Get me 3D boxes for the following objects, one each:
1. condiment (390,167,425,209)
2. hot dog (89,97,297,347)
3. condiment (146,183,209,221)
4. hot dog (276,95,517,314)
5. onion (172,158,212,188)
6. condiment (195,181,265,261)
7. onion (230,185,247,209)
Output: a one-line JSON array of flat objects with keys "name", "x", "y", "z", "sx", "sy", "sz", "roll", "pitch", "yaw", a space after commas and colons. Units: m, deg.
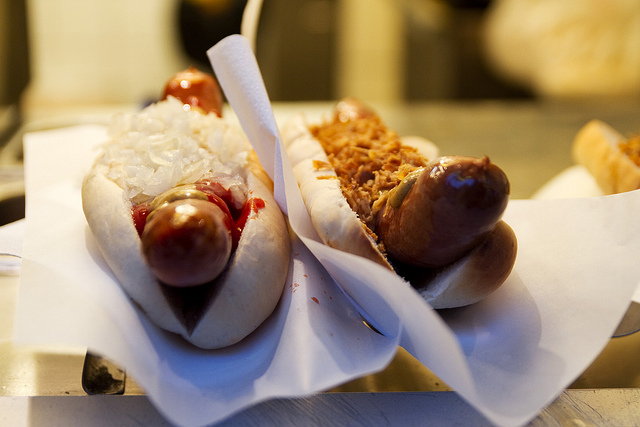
[{"name": "condiment", "x": 0.158, "y": -0.047, "z": 1.133, "sx": 0.026, "sy": 0.047, "sz": 0.089, "roll": 44, "pitch": 93, "yaw": 14}, {"name": "hot dog", "x": -0.282, "y": -0.065, "z": 1.224, "sx": 0.278, "sy": 0.191, "sz": 0.570, "roll": -13, "pitch": 43, "yaw": -8}, {"name": "condiment", "x": -0.276, "y": -0.028, "z": 1.123, "sx": 0.119, "sy": 0.036, "sz": 0.057, "roll": -16, "pitch": 49, "yaw": -18}, {"name": "hot dog", "x": 0.113, "y": -0.076, "z": 1.237, "sx": 0.311, "sy": 0.296, "sz": 0.611, "roll": -21, "pitch": 51, "yaw": -21}, {"name": "onion", "x": -0.249, "y": -0.083, "z": 1.173, "sx": 0.065, "sy": 0.016, "sz": 0.041, "roll": -38, "pitch": 61, "yaw": -24}, {"name": "condiment", "x": -0.200, "y": 0.018, "z": 1.180, "sx": 0.076, "sy": 0.162, "sz": 0.047, "roll": 4, "pitch": 67, "yaw": 8}, {"name": "onion", "x": -0.166, "y": -0.033, "z": 1.187, "sx": 0.032, "sy": 0.013, "sz": 0.045, "roll": -2, "pitch": 86, "yaw": -27}]
